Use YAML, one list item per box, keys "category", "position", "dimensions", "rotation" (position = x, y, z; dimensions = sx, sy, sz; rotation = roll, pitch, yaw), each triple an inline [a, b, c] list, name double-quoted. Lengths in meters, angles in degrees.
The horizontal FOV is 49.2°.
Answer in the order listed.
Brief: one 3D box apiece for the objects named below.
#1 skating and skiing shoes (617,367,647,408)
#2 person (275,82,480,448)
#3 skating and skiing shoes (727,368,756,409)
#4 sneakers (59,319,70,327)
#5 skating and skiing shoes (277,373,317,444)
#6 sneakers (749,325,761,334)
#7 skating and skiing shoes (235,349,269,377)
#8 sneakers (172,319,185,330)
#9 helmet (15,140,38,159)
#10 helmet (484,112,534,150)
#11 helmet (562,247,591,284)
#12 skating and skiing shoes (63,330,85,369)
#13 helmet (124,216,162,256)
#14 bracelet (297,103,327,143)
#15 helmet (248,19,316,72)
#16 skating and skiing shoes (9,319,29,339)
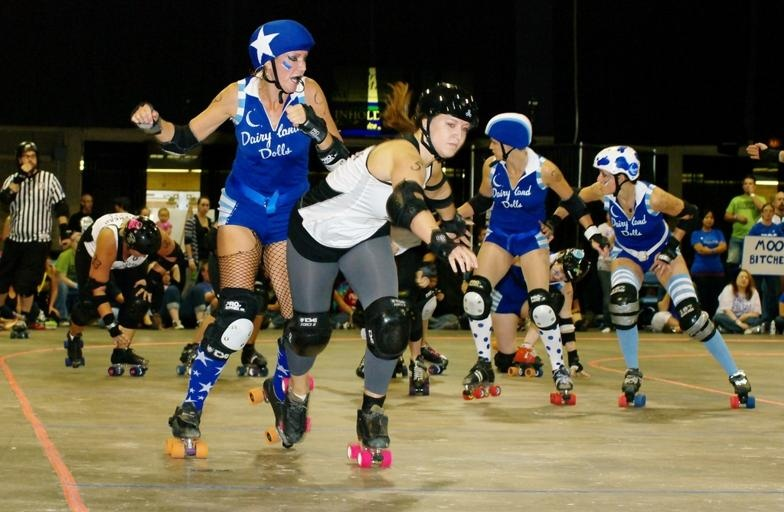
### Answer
- category: "skating and skiing shoes"
  position: [2.274, 1.241, 8.074]
  dimensions: [0.244, 0.310, 0.371]
  rotation: [1, 3, 16]
- category: "person"
  position: [-0.042, 0.109, 6.182]
  dimensions: [1.517, 2.693, 0.763]
  rotation: [2, 3, 34]
- category: "skating and skiing shoes"
  position: [3.322, 1.275, 8.096]
  dimensions: [0.195, 0.401, 0.176]
  rotation: [2, 3, 12]
- category: "sneakers"
  position: [-5.220, 1.072, 13.720]
  dimensions: [0.134, 0.097, 0.221]
  rotation: [0, 3, -19]
- category: "skating and skiing shoes"
  position: [-0.667, 1.190, 6.470]
  dimensions: [0.183, 0.302, 0.604]
  rotation: [4, 22, -5]
- category: "sneakers"
  position: [6.077, 1.224, 14.265]
  dimensions: [0.268, 0.131, 0.054]
  rotation: [-2, 4, -37]
- category: "skating and skiing shoes"
  position: [-1.477, 1.180, 9.176]
  dimensions: [0.186, 0.203, 0.373]
  rotation: [1, -5, -18]
- category: "sneakers"
  position: [-3.441, 1.111, 13.861]
  dimensions: [0.090, 0.110, 0.228]
  rotation: [-2, 1, -29]
- category: "helmet"
  position: [-5.160, -1.502, 12.151]
  dimensions: [0.255, 0.227, 0.228]
  rotation: [0, 3, -7]
- category: "helmet"
  position: [1.168, -1.207, 8.270]
  dimensions: [0.394, 0.269, 0.310]
  rotation: [2, 15, 4]
- category: "helmet"
  position: [2.000, 0.096, 9.403]
  dimensions: [0.245, 0.338, 0.300]
  rotation: [0, 3, -3]
- category: "skating and skiing shoes"
  position: [-3.499, 1.027, 9.503]
  dimensions: [0.227, 0.264, 0.463]
  rotation: [2, 36, -26]
- category: "helmet"
  position: [-2.627, -0.206, 9.083]
  dimensions: [0.303, 0.346, 0.412]
  rotation: [-31, 62, -27]
- category: "bracelet"
  position: [-0.583, -1.054, 6.532]
  dimensions: [0.279, 0.159, 0.431]
  rotation: [-6, 12, 4]
- category: "helmet"
  position: [-0.827, -1.590, 6.488]
  dimensions: [0.425, 0.286, 0.329]
  rotation: [3, 5, 7]
- category: "skating and skiing shoes"
  position: [-5.252, 1.039, 12.102]
  dimensions: [0.170, 0.211, 0.322]
  rotation: [2, -5, -16]
